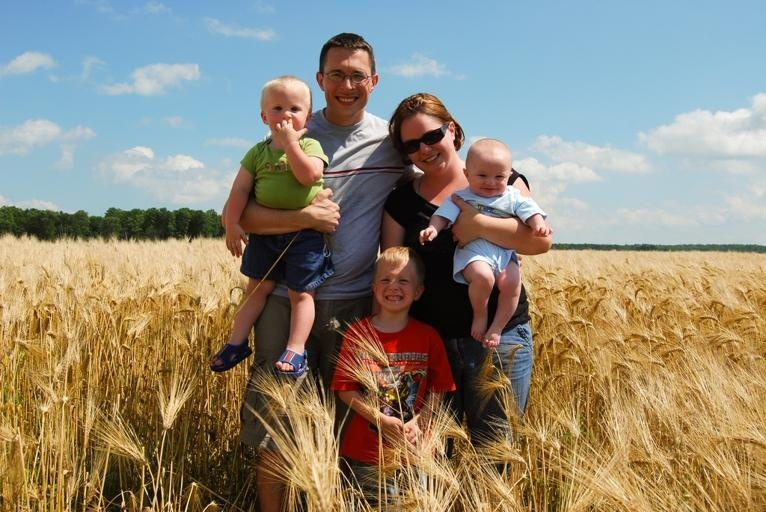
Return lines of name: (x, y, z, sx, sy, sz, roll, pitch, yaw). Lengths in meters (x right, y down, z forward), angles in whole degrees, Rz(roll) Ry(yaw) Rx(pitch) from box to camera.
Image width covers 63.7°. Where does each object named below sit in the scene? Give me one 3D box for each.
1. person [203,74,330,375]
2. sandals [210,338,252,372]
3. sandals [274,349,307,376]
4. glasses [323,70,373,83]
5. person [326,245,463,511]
person: (-0.816, -0.234, 4.746, 0.833, 2.281, 0.597, 5, 4, 24)
sandals: (-1.162, 0.751, 4.856, 0.156, 0.177, 0.401, 5, 16, 35)
sandals: (-0.674, 0.783, 4.525, 0.195, 0.123, 0.331, 1, -3, -3)
glasses: (-0.276, -1.370, 4.742, 0.318, 0.096, 0.055, 3, 4, -4)
person: (0.037, 0.877, 4.369, 0.838, 1.862, 0.817, 4, 4, 16)
